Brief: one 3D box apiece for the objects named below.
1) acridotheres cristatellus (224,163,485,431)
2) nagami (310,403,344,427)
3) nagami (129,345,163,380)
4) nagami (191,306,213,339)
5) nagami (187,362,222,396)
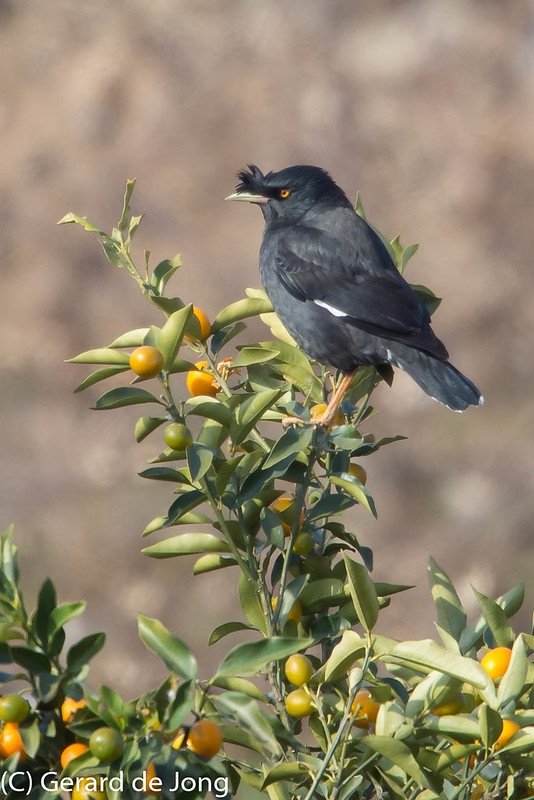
[{"bbox_3d":[0.199,-0.270,2.921,0.340,0.874,0.377,-19,-41,-14],"label":"acridotheres cristatellus"},{"bbox_3d":[0.111,0.025,2.091,0.035,0.048,0.051,-61,0,-4],"label":"nagami"},{"bbox_3d":[-0.176,-0.061,1.740,0.055,0.049,0.052,4,-75,1],"label":"nagami"},{"bbox_3d":[-0.121,-0.141,1.955,0.036,0.051,0.041,-8,-28,2],"label":"nagami"},{"bbox_3d":[-0.112,-0.039,1.940,0.063,0.061,0.059,-3,7,19],"label":"nagami"}]
